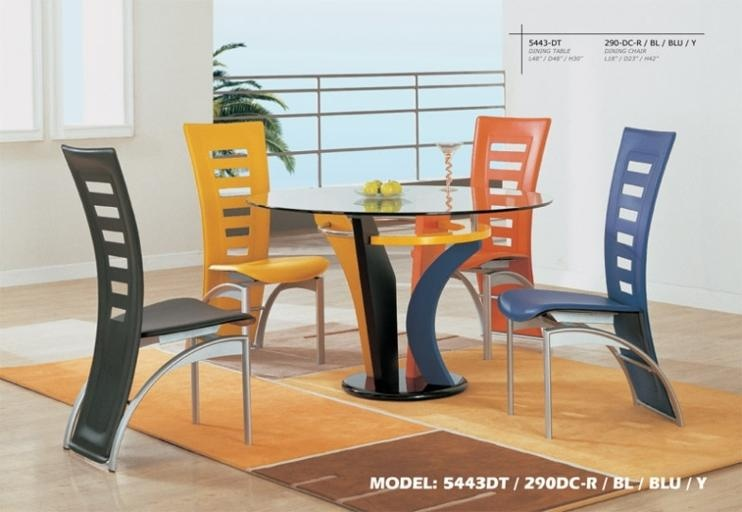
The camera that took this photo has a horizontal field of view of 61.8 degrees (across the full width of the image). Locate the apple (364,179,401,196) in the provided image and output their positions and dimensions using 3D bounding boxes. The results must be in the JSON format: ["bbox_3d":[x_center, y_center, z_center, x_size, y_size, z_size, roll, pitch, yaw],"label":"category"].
[{"bbox_3d":[0.052,-0.349,3.176,0.202,0.076,0.179,0,8,2],"label":"apple"}]
